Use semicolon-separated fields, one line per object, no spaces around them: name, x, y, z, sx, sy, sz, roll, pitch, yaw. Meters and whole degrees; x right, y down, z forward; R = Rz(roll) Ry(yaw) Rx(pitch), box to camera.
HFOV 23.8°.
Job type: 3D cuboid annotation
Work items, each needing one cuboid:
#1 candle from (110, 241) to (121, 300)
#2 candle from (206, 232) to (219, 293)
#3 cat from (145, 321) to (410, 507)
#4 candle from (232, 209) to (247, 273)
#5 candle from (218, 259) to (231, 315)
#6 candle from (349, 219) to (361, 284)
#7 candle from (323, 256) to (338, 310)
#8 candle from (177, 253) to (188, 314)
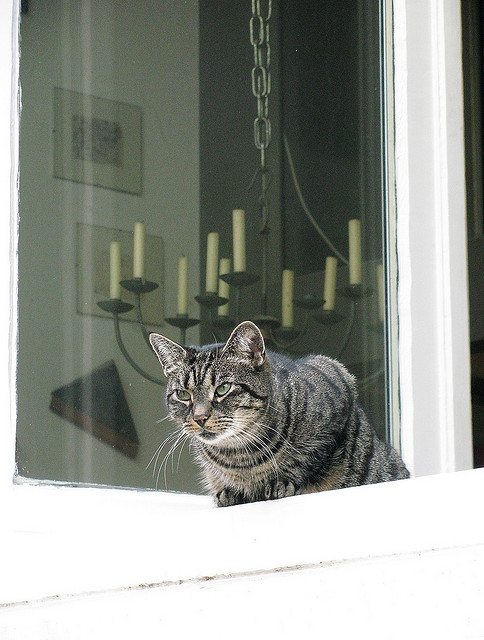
candle;-0.184;-0.068;1.646;0.017;0.080;0.010;0;0;-18
candle;-0.046;-0.077;1.694;0.019;0.094;0.020;-5;-11;38
cat;0.078;0.174;1.797;0.223;0.279;0.530;-9;-12;32
candle;-0.006;-0.113;1.701;0.021;0.090;0.006;0;-1;-32
candle;-0.028;-0.045;1.691;0.020;0.081;0.008;0;0;-10
candle;0.169;-0.099;1.731;0.017;0.096;0.014;-1;0;8
candle;0.130;-0.051;1.724;0.021;0.078;0.020;0;0;3
candle;-0.089;-0.048;1.677;0.015;0.084;0.007;0;0;-7
